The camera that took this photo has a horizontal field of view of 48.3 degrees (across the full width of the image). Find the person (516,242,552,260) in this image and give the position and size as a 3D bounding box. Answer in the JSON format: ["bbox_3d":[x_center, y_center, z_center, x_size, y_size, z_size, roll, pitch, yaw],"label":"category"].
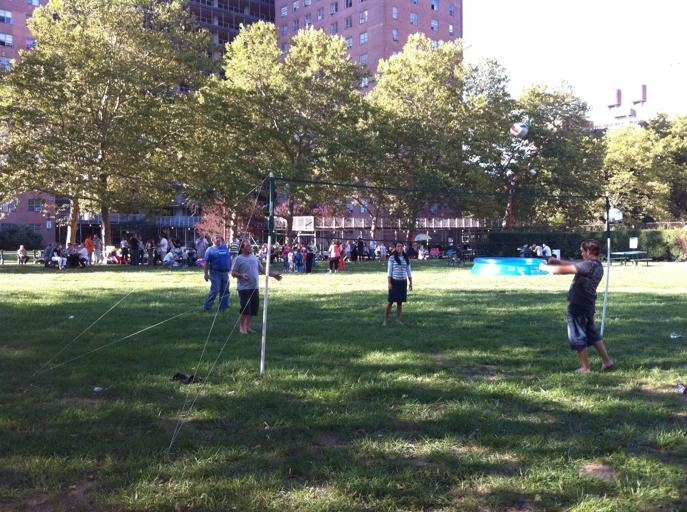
[{"bbox_3d":[11.376,-0.259,45.370,1.975,0.835,0.576,2,15,12],"label":"person"}]

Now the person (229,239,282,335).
[{"bbox_3d":[-2.337,0.757,18.182,0.599,1.995,0.739,3,0,6],"label":"person"}]

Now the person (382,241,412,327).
[{"bbox_3d":[1.419,0.737,19.631,0.646,1.980,1.060,3,0,4],"label":"person"}]
